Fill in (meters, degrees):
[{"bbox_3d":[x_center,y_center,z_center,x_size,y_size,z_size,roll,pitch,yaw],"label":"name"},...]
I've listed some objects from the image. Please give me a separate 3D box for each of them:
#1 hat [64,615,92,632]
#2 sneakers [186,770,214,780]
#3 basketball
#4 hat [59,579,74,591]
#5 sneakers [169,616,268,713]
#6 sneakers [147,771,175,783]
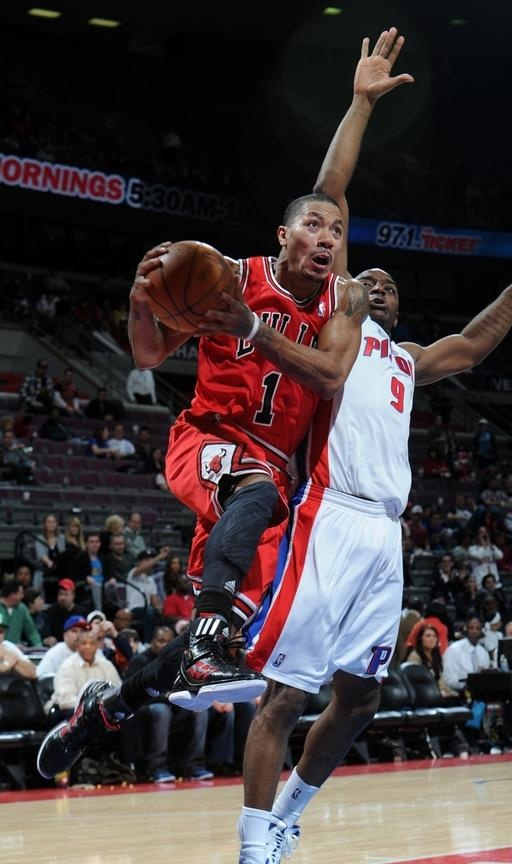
[{"bbox_3d":[-1.533,1.610,6.706,0.157,0.117,0.230,3,-19,-14],"label":"hat"},{"bbox_3d":[-0.464,2.836,6.542,0.230,0.091,0.082,0,-12,-3],"label":"sneakers"},{"bbox_3d":[-0.138,-0.321,1.779,0.183,0.208,0.177,6,-47,-1],"label":"basketball"},{"bbox_3d":[-1.853,1.500,7.746,0.120,0.095,0.180,-1,-25,15],"label":"hat"},{"bbox_3d":[-0.073,0.454,1.597,0.089,0.175,0.245,29,-34,-36],"label":"sneakers"},{"bbox_3d":[-0.763,2.779,6.400,0.220,0.096,0.079,-5,-13,13],"label":"sneakers"}]
